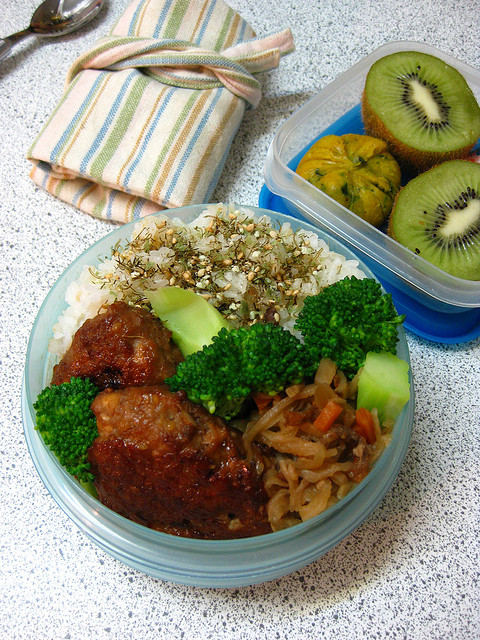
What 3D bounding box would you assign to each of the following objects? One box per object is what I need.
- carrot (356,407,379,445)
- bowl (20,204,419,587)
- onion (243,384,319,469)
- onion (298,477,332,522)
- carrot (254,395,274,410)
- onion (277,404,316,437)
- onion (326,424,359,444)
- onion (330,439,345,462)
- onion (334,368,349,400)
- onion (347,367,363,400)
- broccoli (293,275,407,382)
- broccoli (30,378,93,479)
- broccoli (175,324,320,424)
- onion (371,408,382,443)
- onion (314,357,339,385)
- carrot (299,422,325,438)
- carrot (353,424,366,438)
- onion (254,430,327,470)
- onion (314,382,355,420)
[{"bbox_3d":[0.255,0.207,1.160,0.030,0.027,0.092,-22,101,0],"label":"carrot"},{"bbox_3d":[-0.058,0.121,1.277,0.895,0.393,0.792,4,50,9],"label":"bowl"},{"bbox_3d":[0.060,0.192,1.242,0.196,0.140,0.125,22,36,37],"label":"onion"},{"bbox_3d":[0.142,0.354,1.159,0.028,0.099,0.081,-44,100,-7],"label":"onion"},{"bbox_3d":[0.050,0.168,1.187,0.031,0.012,0.029,24,85,24],"label":"carrot"},{"bbox_3d":[0.110,0.191,1.160,0.018,0.061,0.059,44,115,21],"label":"onion"},{"bbox_3d":[0.202,0.224,1.166,0.063,0.015,0.032,21,43,3],"label":"onion"},{"bbox_3d":[0.197,0.258,1.156,0.027,0.013,0.044,33,78,12],"label":"onion"},{"bbox_3d":[0.205,0.129,1.189,0.039,0.014,0.057,-4,75,12],"label":"onion"},{"bbox_3d":[0.233,0.130,1.225,0.018,0.021,0.075,28,98,8],"label":"onion"},{"bbox_3d":[0.224,0.007,1.206,0.187,0.107,0.180,-20,51,-12],"label":"broccoli"},{"bbox_3d":[-0.361,0.189,1.176,0.125,0.189,0.076,21,84,-10],"label":"broccoli"},{"bbox_3d":[0.016,0.091,1.137,0.280,0.112,0.169,3,86,-11],"label":"broccoli"},{"bbox_3d":[0.275,0.211,1.177,0.022,0.014,0.069,-11,92,3],"label":"onion"},{"bbox_3d":[0.174,0.104,1.197,0.045,0.015,0.055,23,86,11],"label":"onion"},{"bbox_3d":[0.140,0.219,1.153,0.037,0.009,0.033,-1,102,13],"label":"carrot"},{"bbox_3d":[0.240,0.222,1.164,0.013,0.022,0.024,-42,70,-16],"label":"carrot"},{"bbox_3d":[0.097,0.247,1.106,0.113,0.035,0.060,-1,70,14],"label":"onion"},{"bbox_3d":[0.179,0.161,1.170,0.096,0.019,0.058,32,69,1],"label":"onion"}]
